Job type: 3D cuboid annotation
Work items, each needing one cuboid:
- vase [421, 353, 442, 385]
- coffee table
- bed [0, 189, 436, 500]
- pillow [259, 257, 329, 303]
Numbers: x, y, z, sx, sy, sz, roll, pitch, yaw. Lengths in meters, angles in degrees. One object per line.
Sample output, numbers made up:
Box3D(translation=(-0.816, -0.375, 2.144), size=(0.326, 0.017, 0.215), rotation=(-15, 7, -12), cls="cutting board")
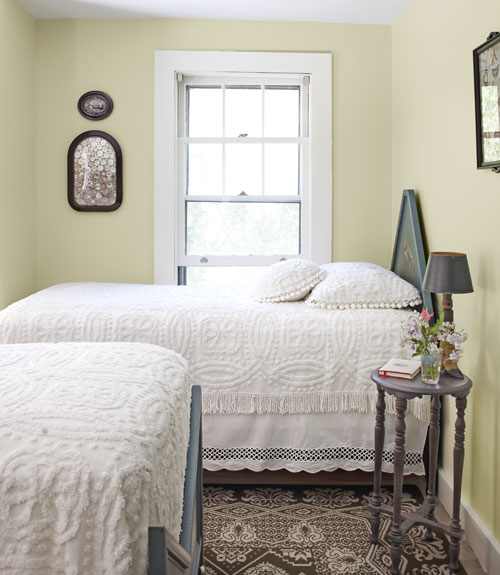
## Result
Box3D(translation=(0.591, 0.254, 1.755), size=(0.061, 0.110, 0.082), rotation=(3, 8, 18), cls="vase")
Box3D(translation=(0.599, 0.604, 1.935), size=(0.343, 0.662, 0.552), rotation=(3, 8, 22), cls="coffee table")
Box3D(translation=(-0.067, 0.265, 2.573), size=(1.517, 0.991, 1.041), rotation=(1, 1, 5), cls="bed")
Box3D(translation=(0.207, 0.002, 2.653), size=(0.248, 0.140, 0.241), rotation=(-8, 37, 46), cls="pillow")
